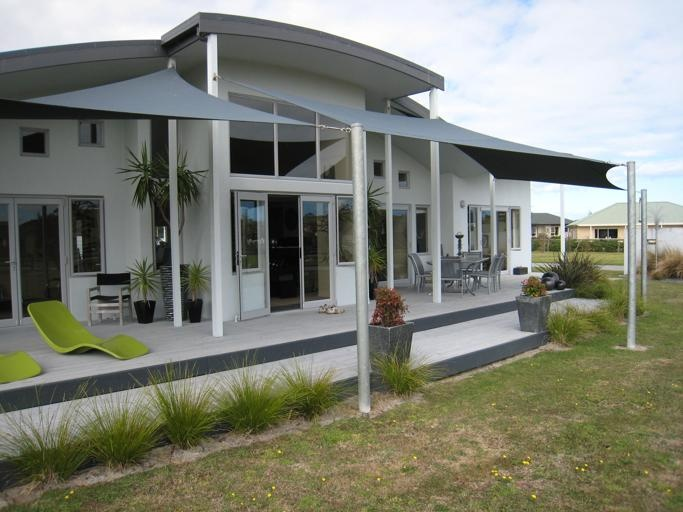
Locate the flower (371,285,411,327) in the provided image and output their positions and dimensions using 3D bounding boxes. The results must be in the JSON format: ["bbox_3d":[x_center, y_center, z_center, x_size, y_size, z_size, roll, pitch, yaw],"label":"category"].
[{"bbox_3d":[0.724,0.749,7.796,0.441,0.698,0.624,0,0,20],"label":"flower"}]

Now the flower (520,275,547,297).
[{"bbox_3d":[3.536,0.549,9.988,0.356,0.362,0.411,0,0,-17],"label":"flower"}]

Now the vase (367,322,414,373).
[{"bbox_3d":[0.684,1.229,7.530,0.542,0.859,0.648,-3,-6,40],"label":"vase"}]

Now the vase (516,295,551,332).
[{"bbox_3d":[3.493,1.058,10.033,0.614,0.787,0.580,3,-4,-42],"label":"vase"}]
